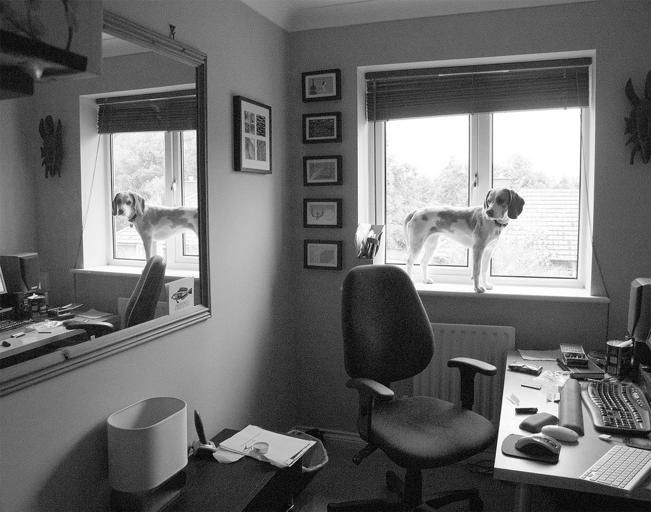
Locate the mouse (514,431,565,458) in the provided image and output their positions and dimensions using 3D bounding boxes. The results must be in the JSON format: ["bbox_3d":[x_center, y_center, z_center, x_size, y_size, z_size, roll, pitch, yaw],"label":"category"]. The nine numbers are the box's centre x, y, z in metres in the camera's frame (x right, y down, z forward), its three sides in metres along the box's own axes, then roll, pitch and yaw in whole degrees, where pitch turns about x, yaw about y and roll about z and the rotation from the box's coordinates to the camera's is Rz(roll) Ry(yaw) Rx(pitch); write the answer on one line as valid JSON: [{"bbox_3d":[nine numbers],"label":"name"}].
[{"bbox_3d":[0.803,0.702,1.982,0.127,0.044,0.077,-1,7,25],"label":"mouse"}]

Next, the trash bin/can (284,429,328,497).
[{"bbox_3d":[-0.080,1.194,3.002,0.261,0.123,0.353,1,16,5],"label":"trash bin/can"}]

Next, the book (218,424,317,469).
[{"bbox_3d":[-0.303,0.971,2.676,0.273,0.069,0.276,7,8,28],"label":"book"}]

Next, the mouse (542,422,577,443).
[{"bbox_3d":[0.911,0.692,2.052,0.109,0.038,0.058,2,4,36],"label":"mouse"}]

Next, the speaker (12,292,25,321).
[{"bbox_3d":[-1.091,0.179,1.890,0.017,0.100,0.055,1,8,10],"label":"speaker"}]

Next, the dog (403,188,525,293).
[{"bbox_3d":[0.844,-0.105,3.368,0.766,0.650,0.364,2,7,35],"label":"dog"}]

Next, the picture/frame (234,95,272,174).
[{"bbox_3d":[-0.425,-0.694,3.013,0.049,0.459,0.476,3,4,22],"label":"picture/frame"}]

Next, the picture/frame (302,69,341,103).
[{"bbox_3d":[-0.016,-1.091,3.385,0.204,0.159,0.021,2,7,14],"label":"picture/frame"}]

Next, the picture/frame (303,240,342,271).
[{"bbox_3d":[-0.007,-0.011,3.459,0.189,0.146,0.020,1,6,20],"label":"picture/frame"}]

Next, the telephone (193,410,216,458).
[{"bbox_3d":[-0.571,0.835,2.507,0.088,0.196,0.085,-4,8,-29],"label":"telephone"}]

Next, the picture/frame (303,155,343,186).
[{"bbox_3d":[-0.004,-0.556,3.418,0.191,0.143,0.014,2,5,25],"label":"picture/frame"}]

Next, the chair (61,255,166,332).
[{"bbox_3d":[-0.937,0.148,2.361,0.360,0.429,0.254,15,9,-14],"label":"chair"}]
